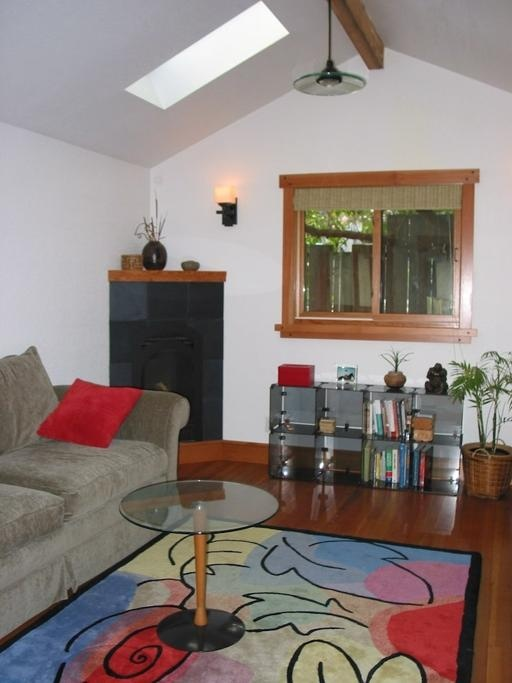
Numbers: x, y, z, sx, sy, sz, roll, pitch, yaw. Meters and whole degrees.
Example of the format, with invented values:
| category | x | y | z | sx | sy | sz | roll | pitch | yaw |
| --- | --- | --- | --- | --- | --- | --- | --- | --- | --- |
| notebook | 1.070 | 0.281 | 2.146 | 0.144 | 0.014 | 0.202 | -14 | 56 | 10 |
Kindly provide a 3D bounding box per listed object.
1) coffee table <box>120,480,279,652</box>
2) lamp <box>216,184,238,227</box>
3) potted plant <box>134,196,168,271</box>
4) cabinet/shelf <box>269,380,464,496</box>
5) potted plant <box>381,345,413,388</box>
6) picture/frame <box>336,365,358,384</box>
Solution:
| category | x | y | z | sx | sy | sz | roll | pitch | yaw |
| --- | --- | --- | --- | --- | --- | --- | --- | --- | --- |
| coffee table | -0.218 | 0.746 | 1.995 | 0.629 | 0.401 | 0.595 | 2 | 1 | 35 |
| lamp | -0.233 | -1.066 | 4.446 | 0.180 | 0.299 | 0.190 | 7 | 8 | 41 |
| potted plant | -0.823 | -0.846 | 4.425 | 0.254 | 0.553 | 0.199 | 5 | 15 | 10 |
| cabinet/shelf | 0.771 | 0.639 | 3.873 | 1.307 | 0.646 | 0.271 | 1 | 2 | 23 |
| potted plant | 1.019 | 0.200 | 4.081 | 0.266 | 0.290 | 0.247 | 0 | 0 | -17 |
| picture/frame | 0.679 | 0.244 | 4.180 | 0.137 | 0.116 | 0.013 | 1 | -7 | 28 |
